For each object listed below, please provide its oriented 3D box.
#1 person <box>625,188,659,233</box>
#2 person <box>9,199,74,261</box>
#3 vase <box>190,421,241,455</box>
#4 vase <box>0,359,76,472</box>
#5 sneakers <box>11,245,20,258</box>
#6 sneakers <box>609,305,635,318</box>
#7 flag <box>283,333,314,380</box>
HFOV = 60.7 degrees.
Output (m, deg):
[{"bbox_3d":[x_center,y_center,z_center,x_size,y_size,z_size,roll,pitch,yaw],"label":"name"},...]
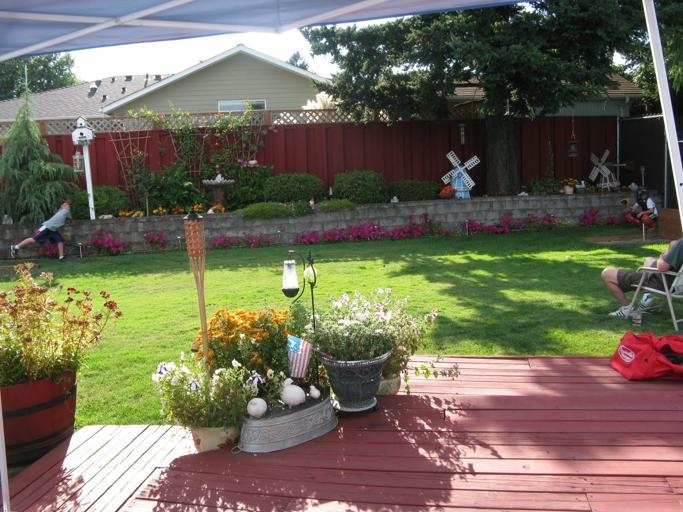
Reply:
[{"bbox_3d":[7.755,-1.238,15.064,0.630,1.089,0.829,-9,9,-13],"label":"person"},{"bbox_3d":[-7.369,-0.642,14.328,1.268,1.354,0.677,-1,13,5],"label":"person"},{"bbox_3d":[-1.144,1.613,5.204,0.267,0.133,0.268,3,-5,-28],"label":"vase"},{"bbox_3d":[-2.720,1.456,5.223,0.637,0.615,0.705,-2,-5,0],"label":"vase"},{"bbox_3d":[-8.081,-0.121,14.395,0.114,0.294,0.104,-6,-27,0],"label":"sneakers"},{"bbox_3d":[3.826,0.749,7.956,0.384,0.181,0.146,-3,4,21],"label":"sneakers"},{"bbox_3d":[-0.414,0.915,5.379,0.408,0.567,0.045,1,1,5],"label":"flag"}]
